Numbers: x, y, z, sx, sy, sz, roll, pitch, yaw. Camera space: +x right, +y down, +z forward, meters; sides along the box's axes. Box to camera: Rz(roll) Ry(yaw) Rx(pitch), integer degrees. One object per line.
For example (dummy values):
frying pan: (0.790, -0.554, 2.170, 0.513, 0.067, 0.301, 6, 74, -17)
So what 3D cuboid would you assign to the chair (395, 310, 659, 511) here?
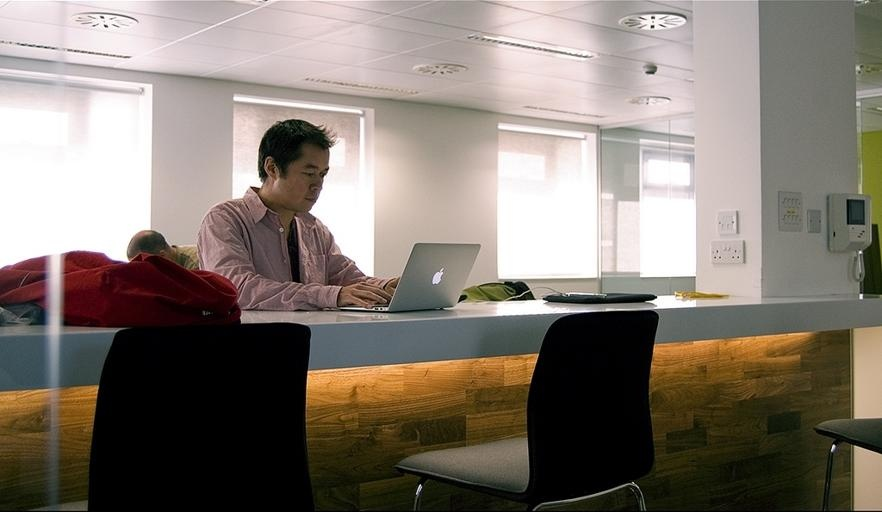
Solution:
chair: (0.393, 0.490, 2.372, 0.825, 0.896, 0.938, 3, -3, -45)

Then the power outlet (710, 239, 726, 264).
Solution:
power outlet: (1.789, -0.024, 3.707, 0.019, 0.146, 0.080, -2, 1, -26)

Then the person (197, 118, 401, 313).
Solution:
person: (-0.532, -0.209, 2.501, 0.742, 0.749, 0.828, -2, 1, -42)

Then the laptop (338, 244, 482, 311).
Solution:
laptop: (-0.097, 0.085, 2.229, 0.390, 0.189, 0.367, -1, -3, 39)

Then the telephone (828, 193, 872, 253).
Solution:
telephone: (2.703, -0.220, 3.805, 0.487, 0.411, 0.151, 2, -5, -33)
